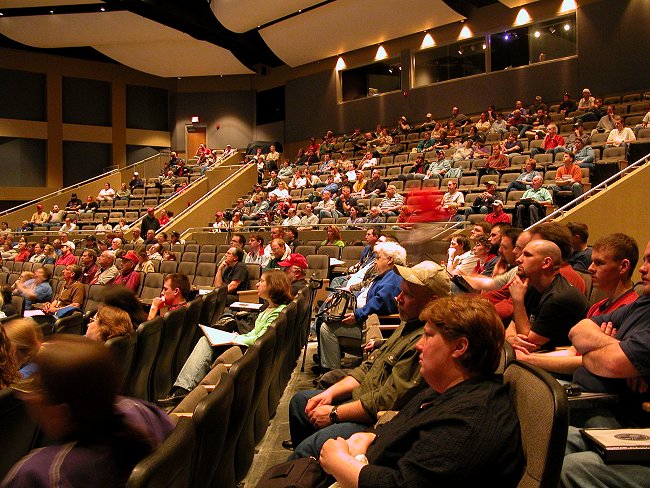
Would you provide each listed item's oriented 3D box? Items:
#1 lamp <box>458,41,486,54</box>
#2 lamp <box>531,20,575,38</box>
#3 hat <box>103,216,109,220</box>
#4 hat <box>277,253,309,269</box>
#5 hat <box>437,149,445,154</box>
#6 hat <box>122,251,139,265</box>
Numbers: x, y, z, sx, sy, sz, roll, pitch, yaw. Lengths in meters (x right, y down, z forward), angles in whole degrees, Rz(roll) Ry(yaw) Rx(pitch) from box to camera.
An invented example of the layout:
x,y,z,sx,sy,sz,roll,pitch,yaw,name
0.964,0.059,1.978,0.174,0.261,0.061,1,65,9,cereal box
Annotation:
x,y,z,sx,sy,sz,roll,pitch,yaw,name
4.399,-5.906,14.302,0.261,0.386,0.918,2,7,-35,lamp
6.216,-5.846,12.845,1.119,0.537,0.258,7,14,42,lamp
-6.580,-0.772,14.327,0.161,0.064,0.173,5,0,25,hat
-0.348,0.199,5.298,0.234,0.168,0.166,-1,-1,-5,hat
2.553,-2.067,10.609,0.204,0.089,0.218,-1,3,26,hat
-2.579,0.209,6.415,0.146,0.115,0.214,12,-27,36,hat
